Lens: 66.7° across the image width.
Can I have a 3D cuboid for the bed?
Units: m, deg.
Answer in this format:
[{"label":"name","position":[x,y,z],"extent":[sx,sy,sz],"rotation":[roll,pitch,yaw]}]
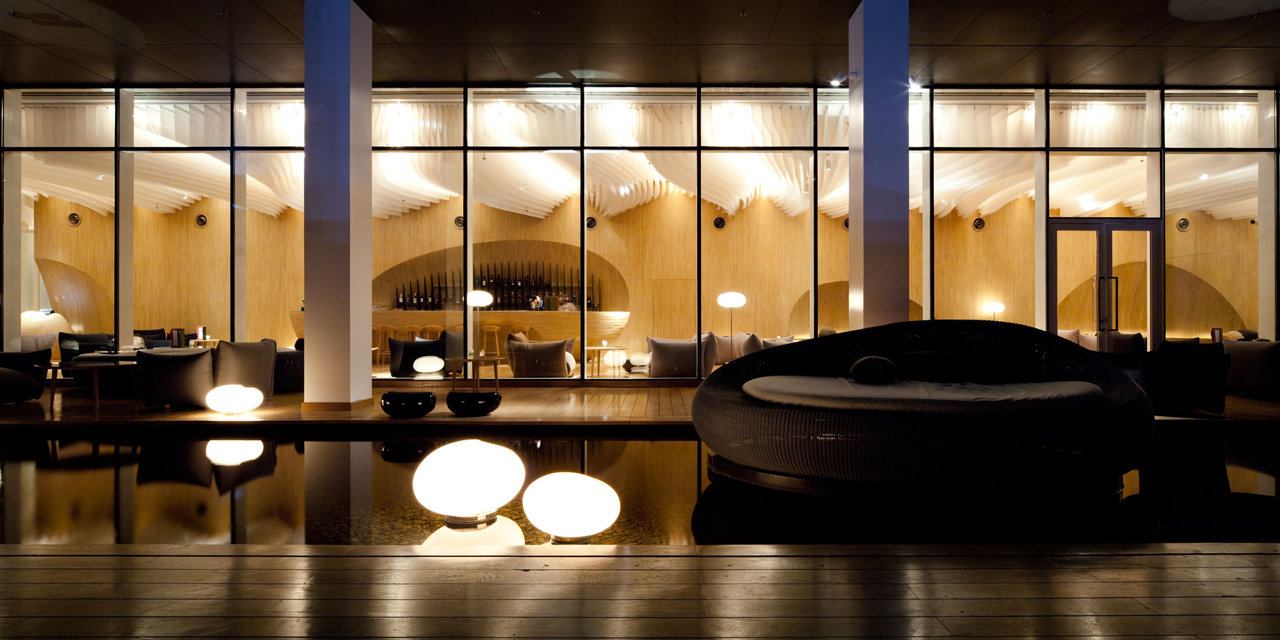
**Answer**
[{"label":"bed","position":[4.167,1.342,14.376],"extent":[6.704,2.666,1.355],"rotation":[-2,-2,-1]}]
